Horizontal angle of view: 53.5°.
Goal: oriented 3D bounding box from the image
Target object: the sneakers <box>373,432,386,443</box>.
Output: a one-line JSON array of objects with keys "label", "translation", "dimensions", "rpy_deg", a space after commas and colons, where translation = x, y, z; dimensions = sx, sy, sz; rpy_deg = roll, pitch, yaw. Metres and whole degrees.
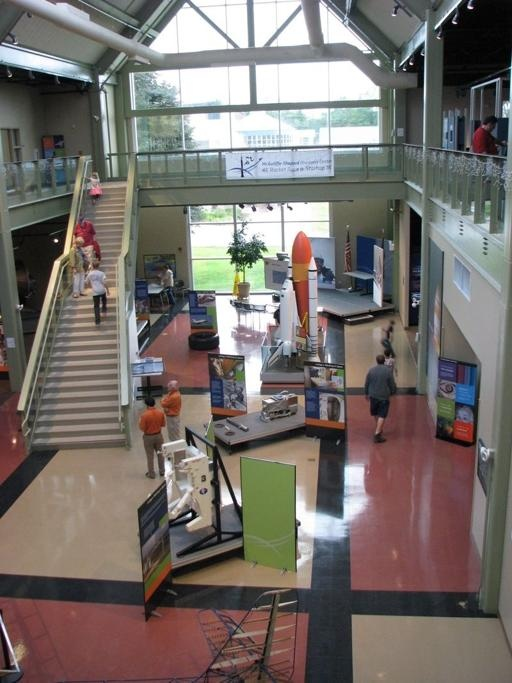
[{"label": "sneakers", "translation": [2.319, 1.725, 9.438], "dimensions": [0.269, 0.202, 0.131], "rpy_deg": [-13, 28, -20]}]

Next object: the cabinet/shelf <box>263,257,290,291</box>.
[{"label": "cabinet/shelf", "translation": [0.775, -2.646, 19.867], "dimensions": [0.406, 1.272, 1.378], "rpy_deg": [-6, 9, -24]}]

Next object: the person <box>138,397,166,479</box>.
[{"label": "person", "translation": [-1.651, 1.515, 8.145], "dimensions": [0.393, 1.484, 1.194], "rpy_deg": [-4, 9, -13]}]

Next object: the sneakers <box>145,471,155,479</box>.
[{"label": "sneakers", "translation": [-1.742, 2.180, 8.381], "dimensions": [0.144, 0.107, 0.049], "rpy_deg": [29, 36, 35]}]

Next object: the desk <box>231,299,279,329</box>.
[{"label": "desk", "translation": [0.040, -1.293, 19.631], "dimensions": [1.750, 0.784, 1.166], "rpy_deg": [9, 29, 18]}]

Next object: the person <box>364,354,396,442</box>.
[{"label": "person", "translation": [2.213, 1.011, 9.109], "dimensions": [0.494, 1.714, 0.907], "rpy_deg": [-1, 8, 12]}]

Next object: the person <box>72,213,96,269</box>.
[{"label": "person", "translation": [-4.330, -2.483, 12.794], "dimensions": [0.510, 1.426, 0.428], "rpy_deg": [-3, 37, -14]}]

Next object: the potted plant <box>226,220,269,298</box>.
[{"label": "potted plant", "translation": [-0.424, -3.535, 22.060], "dimensions": [1.450, 3.061, 2.576], "rpy_deg": [-2, 8, 2]}]

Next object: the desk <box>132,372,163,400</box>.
[{"label": "desk", "translation": [-2.692, 1.057, 12.512], "dimensions": [0.739, 0.782, 0.780], "rpy_deg": [-1, 35, -7]}]

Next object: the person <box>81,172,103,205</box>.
[{"label": "person", "translation": [-4.827, -4.527, 15.143], "dimensions": [0.505, 0.918, 1.031], "rpy_deg": [-5, 9, -17]}]

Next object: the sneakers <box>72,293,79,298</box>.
[{"label": "sneakers", "translation": [-4.424, -1.133, 12.469], "dimensions": [0.075, 0.070, 0.140], "rpy_deg": [-12, 12, -30]}]

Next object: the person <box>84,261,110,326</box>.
[{"label": "person", "translation": [-3.605, -1.111, 11.608], "dimensions": [0.385, 1.426, 0.728], "rpy_deg": [-5, 9, -17]}]

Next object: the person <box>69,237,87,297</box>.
[{"label": "person", "translation": [-4.347, -1.815, 12.461], "dimensions": [0.431, 1.425, 0.883], "rpy_deg": [-5, 9, -19]}]
